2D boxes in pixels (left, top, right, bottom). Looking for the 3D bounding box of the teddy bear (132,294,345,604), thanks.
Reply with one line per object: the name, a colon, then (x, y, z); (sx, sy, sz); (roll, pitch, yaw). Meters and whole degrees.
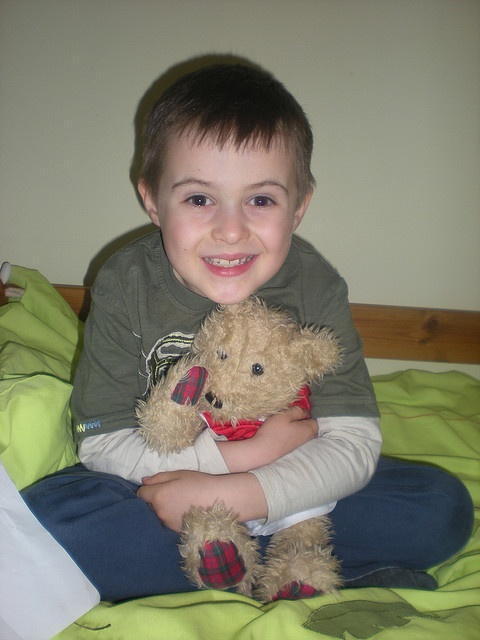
teddy bear: (-0.013, 0.182, 0.917); (0.339, 0.409, 0.204); (1, -5, -14)
